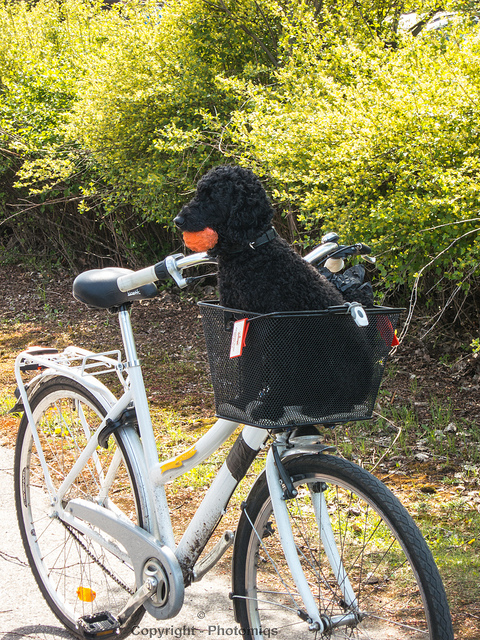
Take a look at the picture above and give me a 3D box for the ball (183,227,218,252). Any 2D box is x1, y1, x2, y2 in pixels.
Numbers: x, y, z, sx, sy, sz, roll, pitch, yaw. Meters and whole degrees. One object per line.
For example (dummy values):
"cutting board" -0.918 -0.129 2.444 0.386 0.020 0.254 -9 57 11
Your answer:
"ball" -0.129 -0.242 2.032 0.068 0.086 0.118 -16 24 -31

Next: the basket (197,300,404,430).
"basket" 0.120 0.171 1.976 0.424 0.275 0.491 17 -4 -14

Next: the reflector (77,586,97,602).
"reflector" -0.585 1.041 2.563 0.083 0.037 0.022 7 -3 18

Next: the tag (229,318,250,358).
"tag" 0.001 0.046 1.747 0.019 0.110 0.101 11 4 -21

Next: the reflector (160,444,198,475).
"reflector" -0.206 0.457 2.225 0.046 0.174 0.044 17 47 -52

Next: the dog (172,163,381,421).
"dog" 0.106 -0.098 1.926 0.507 0.641 0.576 -6 22 -10
